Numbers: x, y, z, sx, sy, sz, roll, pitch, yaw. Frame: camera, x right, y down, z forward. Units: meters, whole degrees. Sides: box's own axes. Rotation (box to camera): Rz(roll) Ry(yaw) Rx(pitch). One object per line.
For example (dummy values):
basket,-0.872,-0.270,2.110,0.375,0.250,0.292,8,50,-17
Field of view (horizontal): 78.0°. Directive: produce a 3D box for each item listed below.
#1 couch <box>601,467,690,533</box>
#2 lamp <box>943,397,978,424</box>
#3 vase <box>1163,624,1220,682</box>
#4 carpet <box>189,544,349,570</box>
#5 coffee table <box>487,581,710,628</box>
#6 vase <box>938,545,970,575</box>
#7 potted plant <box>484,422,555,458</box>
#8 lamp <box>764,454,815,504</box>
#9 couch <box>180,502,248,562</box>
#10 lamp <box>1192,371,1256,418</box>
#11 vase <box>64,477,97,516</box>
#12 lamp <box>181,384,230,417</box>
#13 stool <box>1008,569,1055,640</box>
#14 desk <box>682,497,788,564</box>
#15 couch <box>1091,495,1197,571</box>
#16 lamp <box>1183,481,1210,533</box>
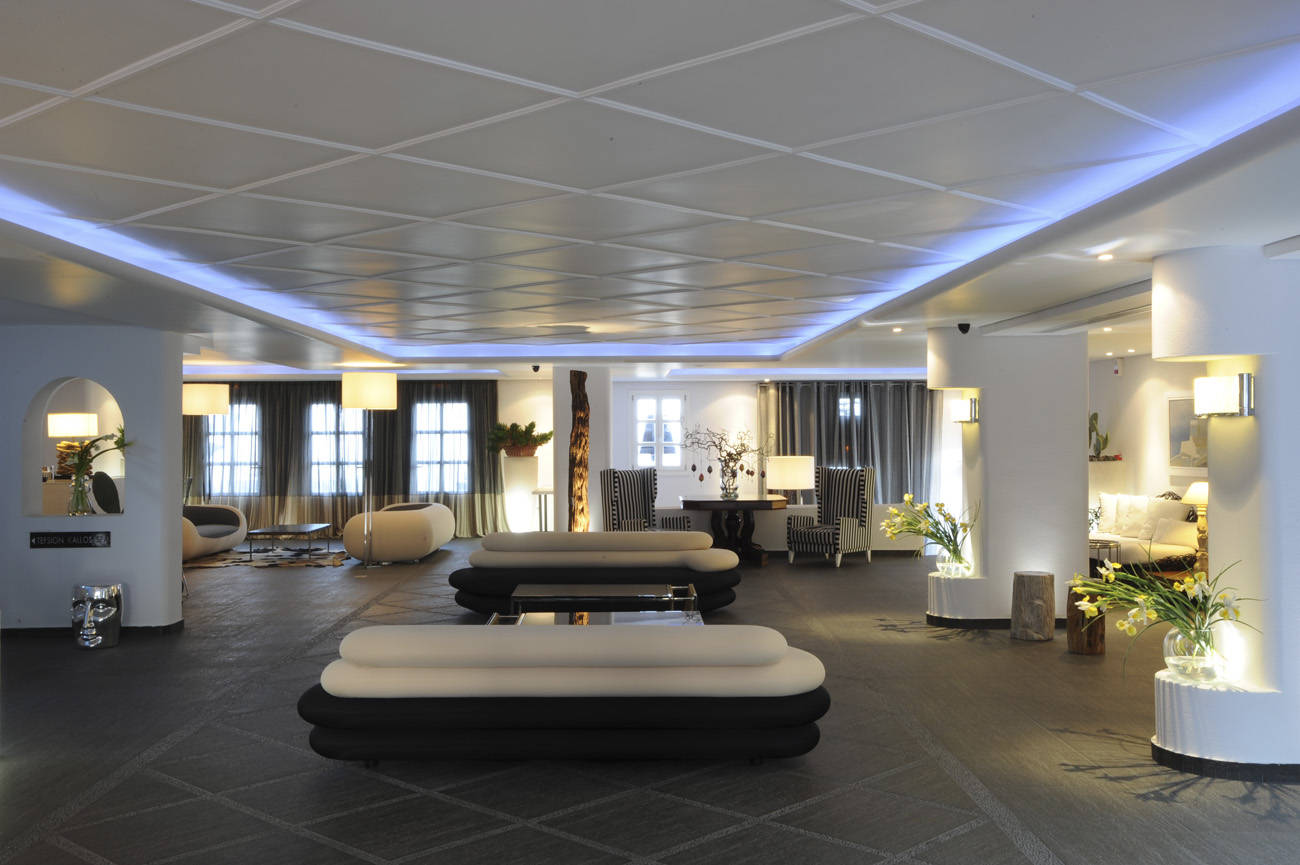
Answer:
couch,-0.118,1.097,12.897,1.128,1.292,1.311,5,-7,-42
lamp,3.307,-0.257,8.631,0.424,0.273,0.292,1,1,23
vase,3.447,1.415,5.152,0.322,0.245,0.312,-3,-2,36
carpet,-5.972,1.987,12.866,2.535,0.070,1.911,0,1,-4
coffee table,-0.478,1.603,7.571,1.394,0.250,0.524,-1,5,0
vase,3.238,1.385,8.626,0.342,0.251,0.302,1,-8,-2
potted plant,-2.301,0.121,14.305,0.850,0.341,0.758,4,-6,-39
lamp,2.279,0.779,13.023,1.099,0.970,0.954,0,1,13
couch,-7.428,1.598,13.188,0.864,0.613,1.470,2,0,7
lamp,3.699,-0.247,5.193,0.269,0.268,0.345,0,3,-38
vase,-5.812,0.627,8.229,0.304,0.397,0.307,-1,2,-31
lamp,-7.331,-0.570,13.147,0.862,0.431,0.836,-2,-2,36
stool,3.719,1.681,7.806,0.374,0.656,0.208,0,2,17
desk,1.324,1.509,12.634,1.190,0.606,1.330,0,-5,-2
couch,6.568,1.333,11.010,1.345,0.933,1.704,-1,-2,2
lamp,7.246,0.949,10.704,0.247,0.624,0.809,1,2,30
